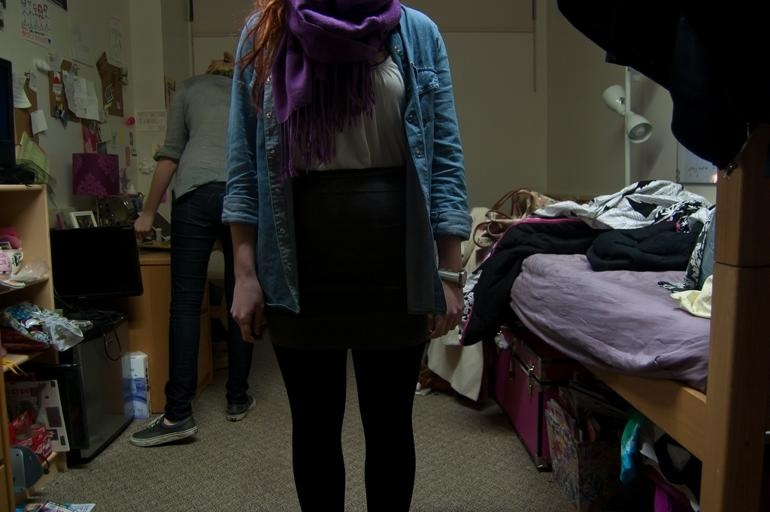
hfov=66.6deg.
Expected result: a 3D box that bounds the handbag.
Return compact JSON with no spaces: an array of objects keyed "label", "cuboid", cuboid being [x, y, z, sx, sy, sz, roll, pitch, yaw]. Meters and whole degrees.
[{"label":"handbag","cuboid":[0.687,-0.222,3.355,0.435,0.175,0.440,-34,0,27]}]

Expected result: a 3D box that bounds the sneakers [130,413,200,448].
[{"label":"sneakers","cuboid":[-1.061,0.854,2.890,0.323,0.149,0.131,-1,-2,-12]}]

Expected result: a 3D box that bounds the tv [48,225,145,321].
[{"label":"tv","cuboid":[-1.442,0.076,2.908,0.450,0.474,0.161,-2,0,-8]}]

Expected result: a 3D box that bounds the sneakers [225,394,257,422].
[{"label":"sneakers","cuboid":[-0.767,0.816,3.137,0.068,0.085,0.192,1,9,8]}]
